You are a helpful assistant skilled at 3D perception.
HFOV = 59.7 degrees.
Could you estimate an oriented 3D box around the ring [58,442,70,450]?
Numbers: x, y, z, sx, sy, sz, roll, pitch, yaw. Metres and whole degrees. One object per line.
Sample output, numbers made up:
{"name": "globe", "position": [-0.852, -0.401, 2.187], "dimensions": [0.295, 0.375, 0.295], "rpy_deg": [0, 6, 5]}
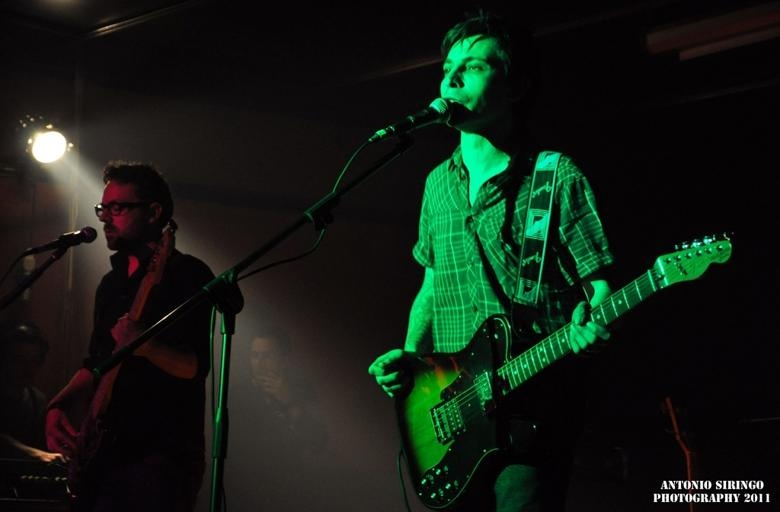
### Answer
{"name": "ring", "position": [-1.904, 1.102, 3.939], "dimensions": [0.048, 0.034, 0.011], "rpy_deg": [-26, -14, -8]}

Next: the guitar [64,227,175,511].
{"name": "guitar", "position": [-1.378, 0.620, 3.932], "dimensions": [0.162, 1.481, 0.565], "rpy_deg": [22, 2, -22]}

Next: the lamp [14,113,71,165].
{"name": "lamp", "position": [-2.344, -0.774, 4.477], "dimensions": [0.249, 0.227, 0.286], "rpy_deg": [-6, -24, 40]}

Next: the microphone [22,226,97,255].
{"name": "microphone", "position": [-2.075, -0.095, 4.226], "dimensions": [0.413, 0.111, 0.106], "rpy_deg": [-13, -5, -15]}
